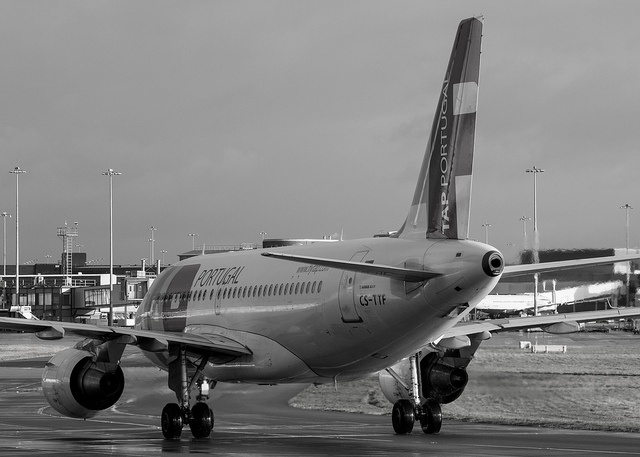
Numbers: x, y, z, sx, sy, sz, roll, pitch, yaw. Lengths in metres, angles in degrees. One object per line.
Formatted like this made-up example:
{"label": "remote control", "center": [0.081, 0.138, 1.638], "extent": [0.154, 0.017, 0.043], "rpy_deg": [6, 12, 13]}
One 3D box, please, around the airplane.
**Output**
{"label": "airplane", "center": [-0.221, 0.233, 33.512], "extent": [18.360, 11.912, 12.811], "rpy_deg": [-2, -5, 34]}
